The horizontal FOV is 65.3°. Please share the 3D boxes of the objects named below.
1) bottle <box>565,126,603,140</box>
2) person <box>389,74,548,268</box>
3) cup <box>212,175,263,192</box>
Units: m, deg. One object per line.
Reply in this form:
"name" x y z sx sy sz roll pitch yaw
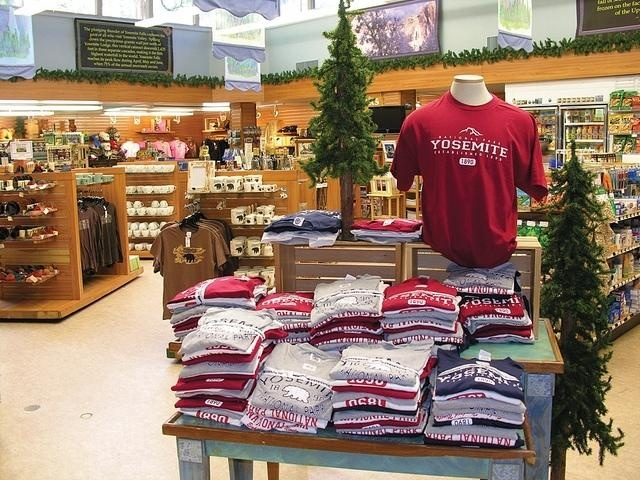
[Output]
"bottle" 5.325 -2.180 10.079 0.673 0.291 0.238 3 11 22
"person" 0.830 -0.395 2.850 0.850 1.064 0.338 3 11 21
"cup" -1.014 -0.690 6.138 0.597 0.192 0.171 -3 11 -10
